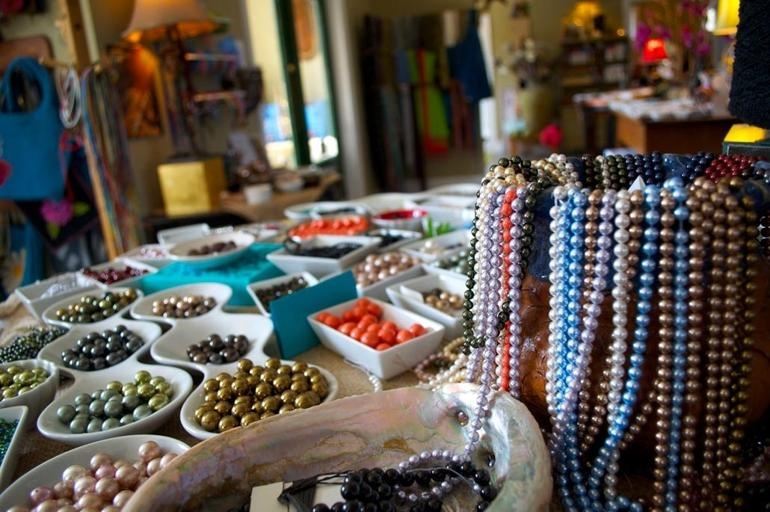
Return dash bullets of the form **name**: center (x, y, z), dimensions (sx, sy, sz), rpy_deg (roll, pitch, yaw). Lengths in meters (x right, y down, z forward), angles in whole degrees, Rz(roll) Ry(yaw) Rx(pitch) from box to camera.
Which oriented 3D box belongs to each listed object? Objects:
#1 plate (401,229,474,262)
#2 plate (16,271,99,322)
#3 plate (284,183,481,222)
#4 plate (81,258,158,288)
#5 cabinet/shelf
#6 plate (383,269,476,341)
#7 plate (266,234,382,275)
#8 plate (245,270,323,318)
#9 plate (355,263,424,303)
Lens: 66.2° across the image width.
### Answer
- **plate**: center (0.166, -0.034, 1.828), dimensions (0.162, 0.027, 0.110), rpy_deg (-21, 25, -25)
- **plate**: center (-0.958, 0.113, 1.736), dimensions (0.185, 0.056, 0.159), rpy_deg (-5, 19, -4)
- **plate**: center (-0.038, -0.211, 2.327), dimensions (0.441, 0.073, 0.275), rpy_deg (-8, 12, 0)
- **plate**: center (-0.813, 0.051, 1.780), dimensions (0.133, 0.039, 0.127), rpy_deg (5, 15, 21)
- **cabinet/shelf**: center (0.994, -0.851, 3.027), dimensions (0.387, 0.653, 0.220), rpy_deg (-11, 19, -18)
- **plate**: center (0.125, 0.111, 1.495), dimensions (0.162, 0.049, 0.175), rpy_deg (13, 20, 41)
- **plate**: center (-0.165, -0.011, 1.769), dimensions (0.185, 0.042, 0.191), rpy_deg (5, 17, 45)
- **plate**: center (-0.279, 0.085, 1.562), dimensions (0.144, 0.045, 0.121), rpy_deg (-15, 27, -21)
- **plate**: center (0.005, 0.074, 1.575), dimensions (0.118, 0.026, 0.115), rpy_deg (-20, 9, -34)
